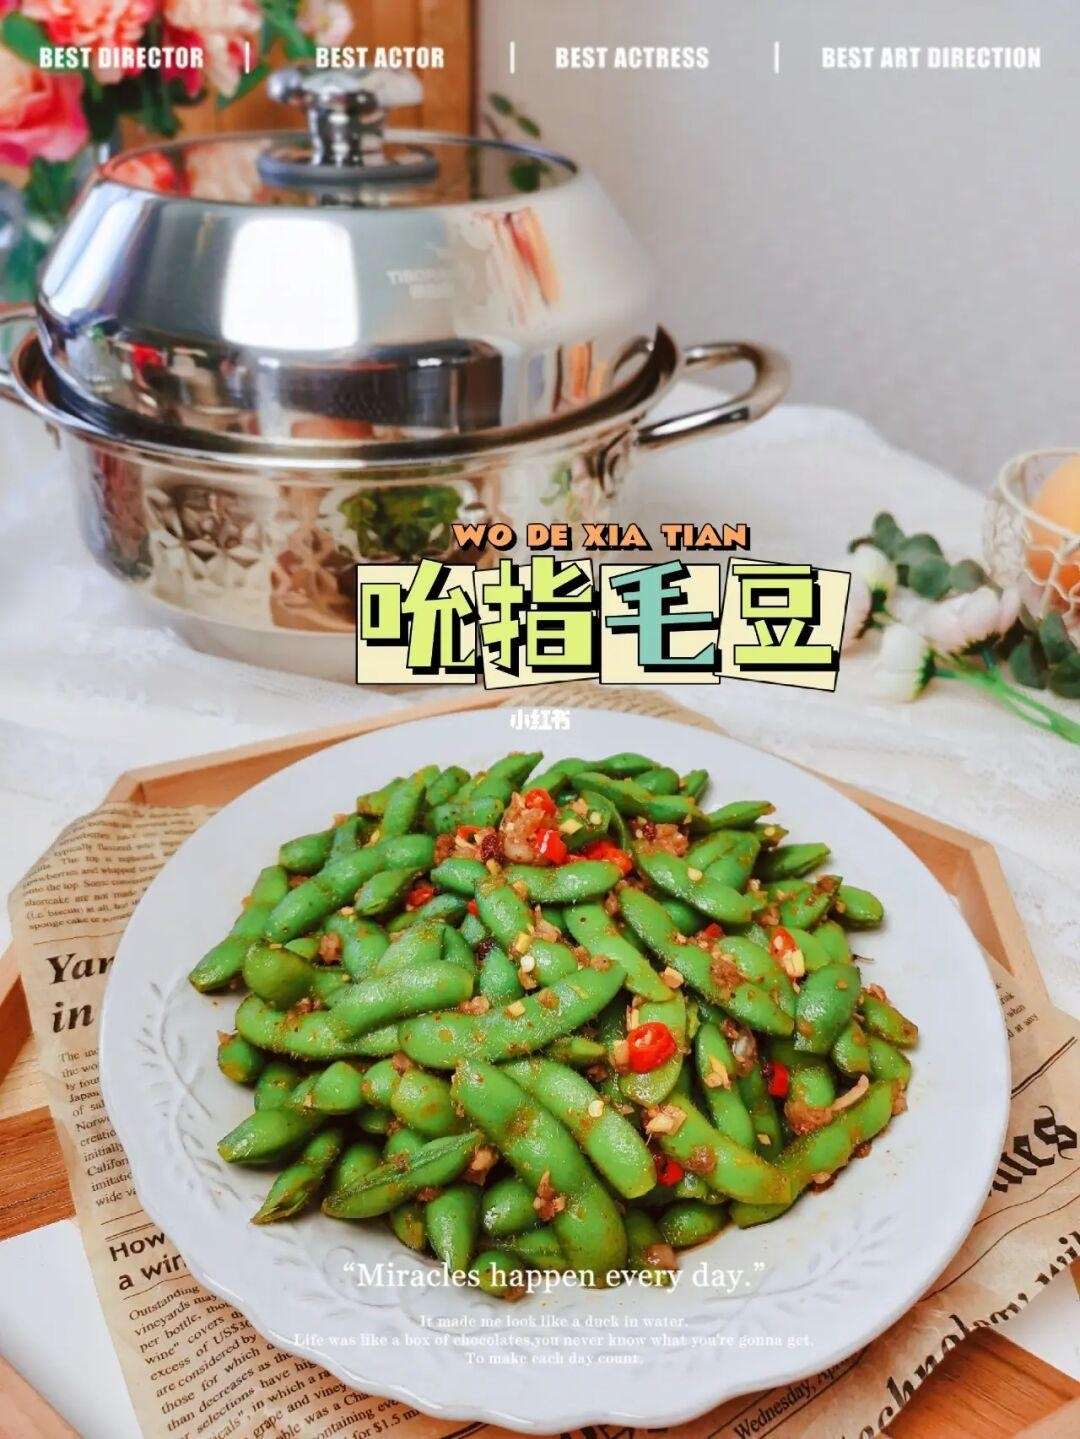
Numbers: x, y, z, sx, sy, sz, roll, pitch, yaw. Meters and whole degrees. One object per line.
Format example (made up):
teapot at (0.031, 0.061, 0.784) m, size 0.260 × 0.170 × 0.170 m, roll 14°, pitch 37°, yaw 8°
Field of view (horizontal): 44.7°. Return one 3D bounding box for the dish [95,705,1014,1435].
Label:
dish at (0.005, 0.138, 0.717) m, size 0.467 × 0.090 × 0.501 m, roll 4°, pitch 26°, yaw 3°

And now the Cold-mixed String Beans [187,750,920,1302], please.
Cold-mixed String Beans at (0.019, 0.151, 0.655) m, size 0.281 × 0.076 × 0.252 m, roll -8°, pitch 30°, yaw -20°

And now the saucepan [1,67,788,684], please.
saucepan at (-0.115, -0.215, 1.113) m, size 0.597 × 0.385 × 0.437 m, roll 1°, pitch 34°, yaw 2°
